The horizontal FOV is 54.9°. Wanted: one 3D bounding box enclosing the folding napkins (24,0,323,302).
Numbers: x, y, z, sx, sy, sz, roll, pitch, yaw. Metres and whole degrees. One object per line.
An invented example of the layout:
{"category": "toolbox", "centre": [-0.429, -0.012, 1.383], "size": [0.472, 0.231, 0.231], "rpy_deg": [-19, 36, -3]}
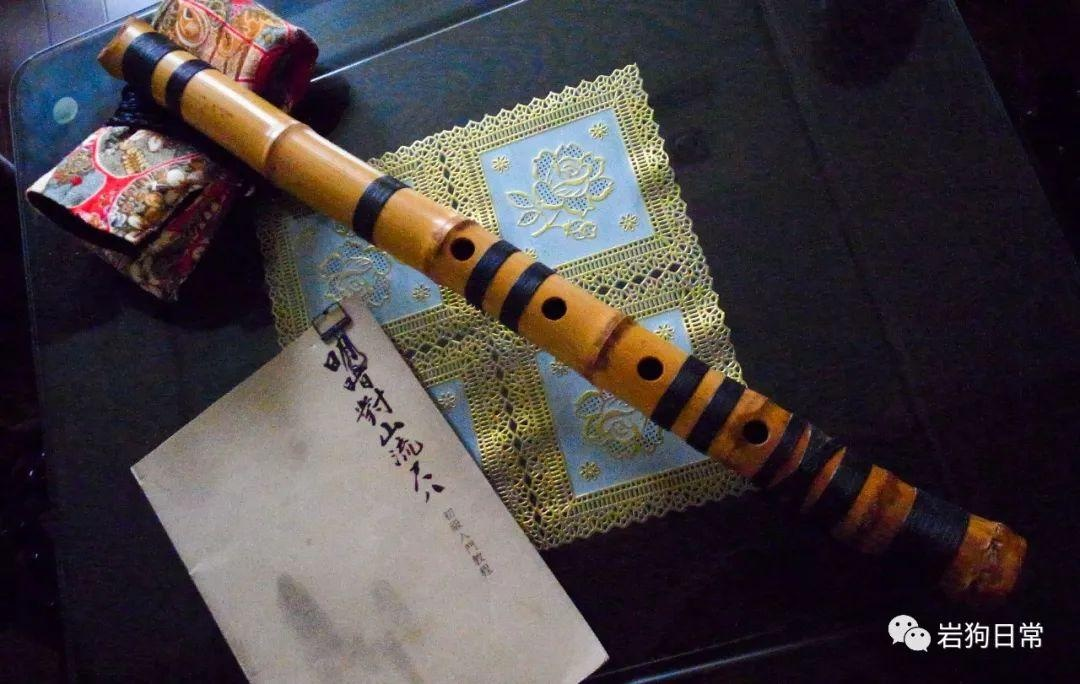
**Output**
{"category": "folding napkins", "centre": [-0.876, -0.453, 2.729], "size": [0.568, 0.255, 0.791], "rpy_deg": [38, 91, 4]}
